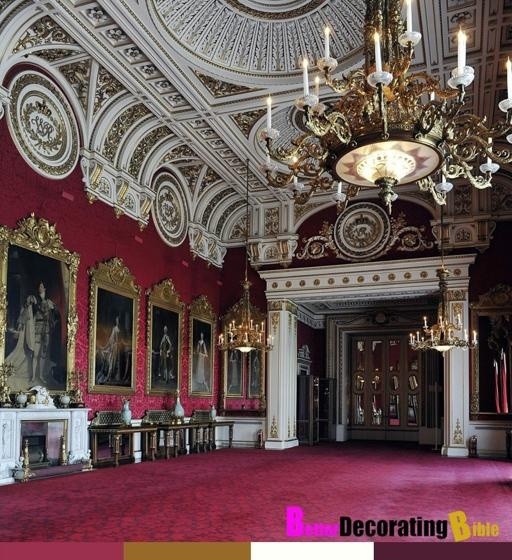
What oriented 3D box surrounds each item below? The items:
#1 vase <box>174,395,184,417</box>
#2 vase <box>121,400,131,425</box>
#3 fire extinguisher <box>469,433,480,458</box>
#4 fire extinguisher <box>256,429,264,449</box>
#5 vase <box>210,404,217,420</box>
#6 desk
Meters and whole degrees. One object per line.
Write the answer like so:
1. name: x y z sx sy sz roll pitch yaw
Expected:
1. vase: -1.675 2.725 11.963 0.188 0.451 0.555 1 -13 -8
2. vase: -2.365 2.382 10.034 0.163 0.438 0.329 2 -13 -15
3. fire extinguisher: 4.677 3.544 11.935 0.226 0.469 0.138 -4 -12 13
4. fire extinguisher: 0.110 3.908 13.752 0.209 0.441 0.162 -3 -12 7
5. vase: -1.081 3.288 13.827 0.165 0.380 0.627 0 -13 -6
6. desk: -1.745 3.234 11.251 0.981 0.668 4.958 -5 -14 14
